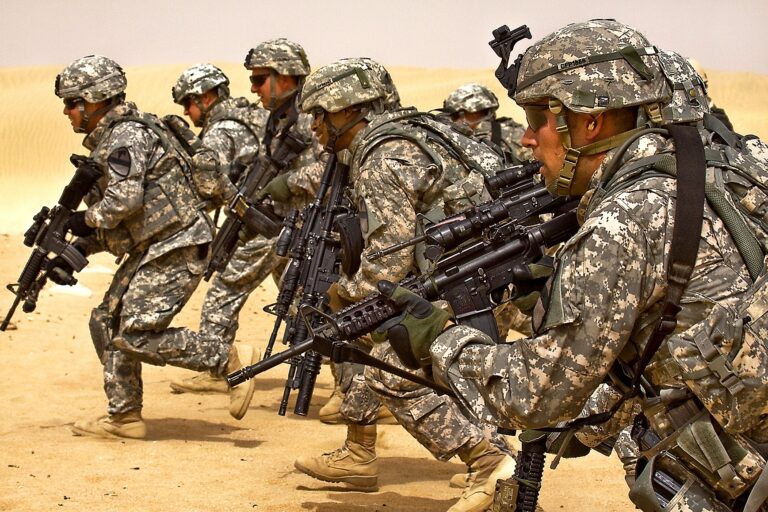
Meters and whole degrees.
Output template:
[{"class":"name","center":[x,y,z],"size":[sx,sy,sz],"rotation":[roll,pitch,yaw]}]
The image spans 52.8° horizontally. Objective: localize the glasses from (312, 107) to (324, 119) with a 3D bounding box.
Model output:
[{"class":"glasses","center":[-0.523,-1.117,6.072],"size":[0.068,0.084,0.065],"rotation":[-11,40,-4]}]

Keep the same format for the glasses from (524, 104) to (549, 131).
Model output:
[{"class":"glasses","center":[0.744,-0.687,3.831],"size":[0.116,0.130,0.059],"rotation":[-2,14,-1]}]

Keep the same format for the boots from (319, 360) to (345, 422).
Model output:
[{"class":"boots","center":[-0.505,1.414,8.261],"size":[0.222,0.483,0.519],"rotation":[2,25,14]}]

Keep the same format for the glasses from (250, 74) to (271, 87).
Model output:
[{"class":"glasses","center":[-1.451,-2.036,8.933],"size":[0.166,0.050,0.172],"rotation":[-4,-8,35]}]

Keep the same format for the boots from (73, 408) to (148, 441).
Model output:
[{"class":"boots","center":[-2.606,1.581,7.419],"size":[0.835,0.321,0.268],"rotation":[5,-10,10]}]

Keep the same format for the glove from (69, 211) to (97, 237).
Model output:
[{"class":"glove","center":[-2.864,-0.297,7.388],"size":[0.269,0.239,0.252],"rotation":[4,2,-10]}]
